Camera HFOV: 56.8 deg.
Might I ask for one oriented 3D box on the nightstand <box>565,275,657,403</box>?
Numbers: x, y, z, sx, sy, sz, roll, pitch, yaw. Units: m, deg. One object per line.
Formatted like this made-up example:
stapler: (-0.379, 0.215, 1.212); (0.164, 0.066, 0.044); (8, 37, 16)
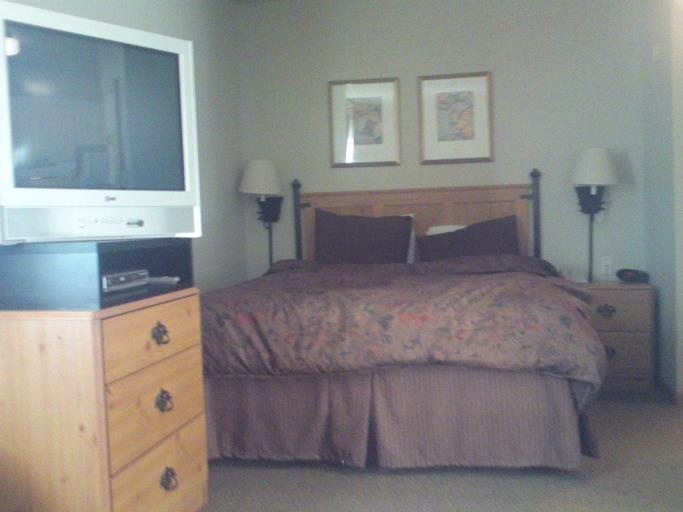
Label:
nightstand: (1.659, 0.537, 3.966); (0.561, 0.775, 0.446); (0, 1, 10)

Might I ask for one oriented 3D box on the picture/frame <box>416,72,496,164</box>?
picture/frame: (0.832, -0.982, 4.445); (0.625, 0.741, 0.055); (-1, 2, 12)

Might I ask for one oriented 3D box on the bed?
bed: (0.359, 0.266, 3.819); (2.128, 1.324, 2.336); (0, 4, 18)

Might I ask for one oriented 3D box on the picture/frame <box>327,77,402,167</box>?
picture/frame: (0.191, -0.986, 4.564); (0.625, 0.694, 0.050); (-1, 0, 8)
